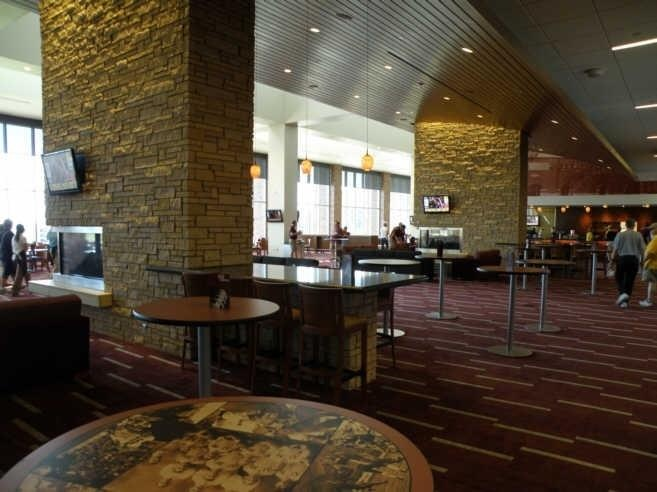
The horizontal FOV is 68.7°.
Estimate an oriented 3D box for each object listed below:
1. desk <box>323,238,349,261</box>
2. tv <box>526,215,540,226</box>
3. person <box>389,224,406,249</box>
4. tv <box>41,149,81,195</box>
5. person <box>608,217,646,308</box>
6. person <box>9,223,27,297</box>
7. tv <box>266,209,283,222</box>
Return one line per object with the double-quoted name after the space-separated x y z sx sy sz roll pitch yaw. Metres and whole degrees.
0.125 0.062 16.204 0.952 0.873 0.884 1 1 11 "desk"
10.620 -1.333 24.714 0.346 0.577 0.592 -3 13 -44 "tv"
1.829 -0.260 12.249 0.432 0.560 0.781 7 9 7 "person"
-3.894 -1.094 7.010 0.827 0.513 0.116 6 6 40 "tv"
5.544 0.284 8.917 0.539 1.609 1.264 13 12 32 "person"
-6.537 0.276 10.133 0.287 1.477 0.934 0 11 -32 "person"
-1.706 -0.957 15.405 0.592 0.481 0.218 11 11 30 "tv"
